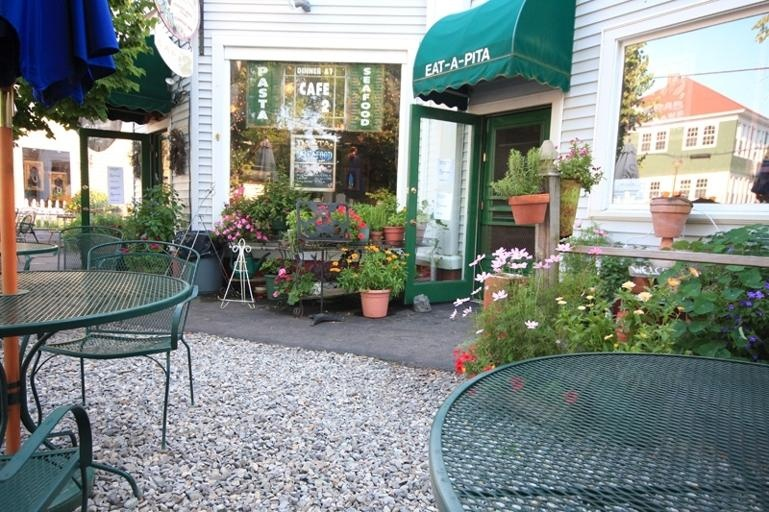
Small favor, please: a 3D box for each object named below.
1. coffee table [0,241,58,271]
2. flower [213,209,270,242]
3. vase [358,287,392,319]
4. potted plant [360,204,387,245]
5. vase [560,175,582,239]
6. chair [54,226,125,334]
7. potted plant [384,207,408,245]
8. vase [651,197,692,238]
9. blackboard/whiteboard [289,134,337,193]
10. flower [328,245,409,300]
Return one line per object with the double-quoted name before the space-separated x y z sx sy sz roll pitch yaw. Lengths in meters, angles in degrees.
"coffee table" -3.285 0.007 5.204 0.430 0.121 0.444 4 5 19
"flower" -1.811 -0.348 7.021 0.440 0.281 0.468 7 2 -13
"vase" -0.106 0.497 6.278 0.309 0.250 0.315 5 7 34
"potted plant" -0.075 -0.400 6.771 0.375 0.548 0.398 -2 2 4
"vase" 1.534 -0.396 4.667 0.108 0.522 0.237 12 17 38
"chair" -3.063 0.098 5.662 0.722 0.951 0.660 1 5 -26
"potted plant" 0.122 -0.351 6.759 0.244 0.393 0.397 3 14 6
"vase" 2.503 -0.346 4.901 0.344 0.361 0.363 3 5 -4
"blackboard/whiteboard" -0.951 -1.263 7.411 0.738 0.931 0.127 2 5 3
"flower" -0.119 0.156 6.372 0.646 0.489 0.630 0 9 -18
